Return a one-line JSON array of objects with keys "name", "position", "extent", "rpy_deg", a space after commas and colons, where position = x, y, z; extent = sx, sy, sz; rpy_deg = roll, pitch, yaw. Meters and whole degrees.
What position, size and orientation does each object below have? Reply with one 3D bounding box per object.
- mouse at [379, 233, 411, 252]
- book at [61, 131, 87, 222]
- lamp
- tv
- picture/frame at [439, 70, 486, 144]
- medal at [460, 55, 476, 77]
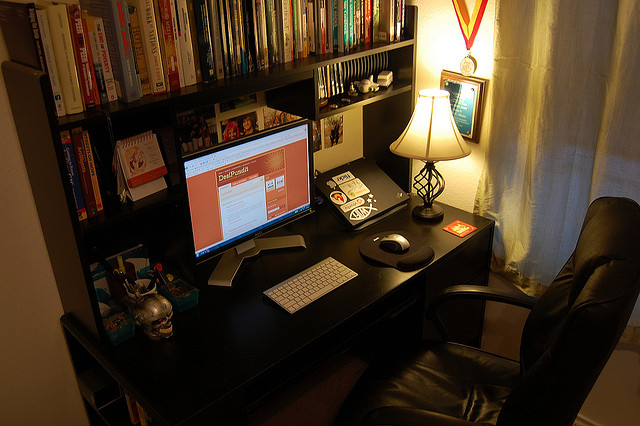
[{"name": "mouse", "position": [0.372, 0.142, 2.416], "extent": [0.122, 0.040, 0.082], "rpy_deg": [20, 41, 32]}, {"name": "book", "position": [-0.926, -0.137, 1.866], "extent": [0.050, 0.322, 0.131], "rpy_deg": [-15, 32, -21]}, {"name": "lamp", "position": [0.603, -0.314, 2.649], "extent": [0.418, 0.627, 0.395], "rpy_deg": [-23, 41, -27]}, {"name": "tv", "position": [-0.354, -0.044, 2.282], "extent": [0.613, 0.563, 0.238], "rpy_deg": [-28, 47, -36]}, {"name": "picture/frame", "position": [0.741, -0.551, 2.552], "extent": [0.293, 0.387, 0.040], "rpy_deg": [27, 40, 35]}, {"name": "medal", "position": [0.757, -0.752, 2.531], "extent": [0.022, 0.094, 0.094], "rpy_deg": [-11, -6, -44]}]
